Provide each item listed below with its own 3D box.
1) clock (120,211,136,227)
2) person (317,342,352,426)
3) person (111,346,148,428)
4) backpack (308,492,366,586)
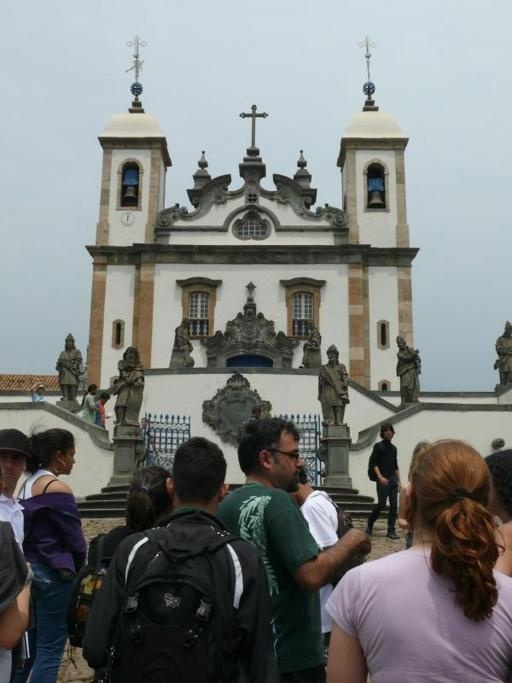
[{"bbox_3d":[-3.156,-3.057,30.843,0.363,0.351,0.365,-10,-6,16],"label":"clock"},{"bbox_3d":[1.138,0.736,18.083,0.387,1.073,0.543,2,-8,0],"label":"person"},{"bbox_3d":[-1.817,0.638,17.398,0.444,1.150,0.359,-1,-16,6],"label":"person"},{"bbox_3d":[0.328,0.795,5.006,0.146,0.244,0.184,-18,-14,10],"label":"backpack"}]
